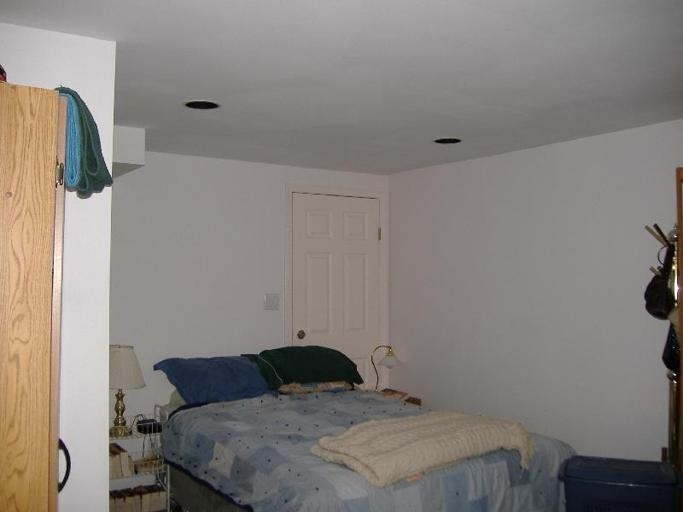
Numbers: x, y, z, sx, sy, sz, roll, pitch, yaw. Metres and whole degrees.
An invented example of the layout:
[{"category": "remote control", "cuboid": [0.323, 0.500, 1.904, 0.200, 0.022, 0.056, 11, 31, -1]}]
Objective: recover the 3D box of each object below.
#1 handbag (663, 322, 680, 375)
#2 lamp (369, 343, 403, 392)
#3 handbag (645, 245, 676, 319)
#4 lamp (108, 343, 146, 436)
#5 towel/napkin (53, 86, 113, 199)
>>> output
[{"category": "handbag", "cuboid": [1.651, 0.470, 3.192, 0.066, 0.250, 0.343, -4, -6, 22]}, {"category": "lamp", "cuboid": [0.362, 0.963, 5.350, 0.243, 0.403, 0.752, -3, -5, 3]}, {"category": "handbag", "cuboid": [1.614, 0.141, 3.234, 0.106, 0.360, 0.472, -4, -5, 18]}, {"category": "lamp", "cuboid": [-1.405, 0.869, 4.150, 0.200, 0.575, 0.606, -1, -6, -21]}, {"category": "towel/napkin", "cuboid": [-0.943, -0.434, 2.357, 0.113, 0.358, 0.339, 1, 1, 1]}]
